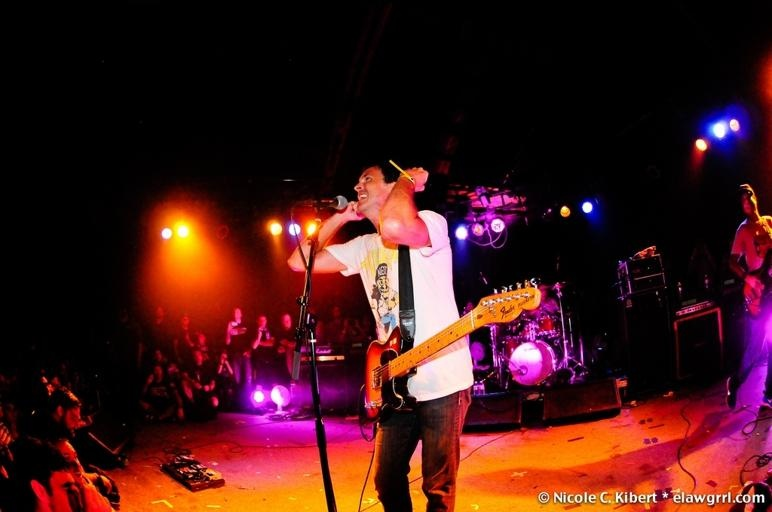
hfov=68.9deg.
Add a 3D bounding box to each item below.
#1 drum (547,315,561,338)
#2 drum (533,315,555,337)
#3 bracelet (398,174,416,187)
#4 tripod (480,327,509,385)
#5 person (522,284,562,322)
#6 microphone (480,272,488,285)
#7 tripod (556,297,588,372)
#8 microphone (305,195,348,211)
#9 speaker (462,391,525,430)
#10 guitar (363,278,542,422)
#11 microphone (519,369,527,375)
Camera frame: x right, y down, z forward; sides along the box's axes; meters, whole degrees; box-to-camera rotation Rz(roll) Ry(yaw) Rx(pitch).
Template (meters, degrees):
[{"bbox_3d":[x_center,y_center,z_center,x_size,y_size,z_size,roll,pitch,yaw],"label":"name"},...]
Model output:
[{"bbox_3d":[2.833,1.212,9.548,0.306,0.326,0.190,12,-10,-4],"label":"drum"},{"bbox_3d":[2.688,1.194,9.523,0.311,0.305,0.315,-13,-16,31],"label":"drum"},{"bbox_3d":[0.201,-0.729,5.294,0.103,0.139,0.048,-34,-42,-18],"label":"bracelet"},{"bbox_3d":[1.923,1.792,9.905,0.741,0.762,0.794,-2,0,3],"label":"tripod"},{"bbox_3d":[2.688,0.821,9.653,0.832,0.836,0.230,-5,-19,44],"label":"person"},{"bbox_3d":[2.117,0.484,12.219,0.080,0.323,0.032,-7,-44,1],"label":"microphone"},{"bbox_3d":[3.256,1.427,9.875,0.356,1.408,0.872,-11,-13,25],"label":"tripod"},{"bbox_3d":[-0.571,-0.521,5.600,0.511,0.139,0.141,-2,-11,-8],"label":"microphone"},{"bbox_3d":[1.654,2.496,8.985,0.874,0.574,0.548,9,-26,-31],"label":"speaker"},{"bbox_3d":[0.470,0.926,5.055,1.861,0.985,0.280,-13,-13,31],"label":"guitar"},{"bbox_3d":[2.147,1.835,8.864,0.088,0.089,0.021,-9,-12,38],"label":"microphone"}]
